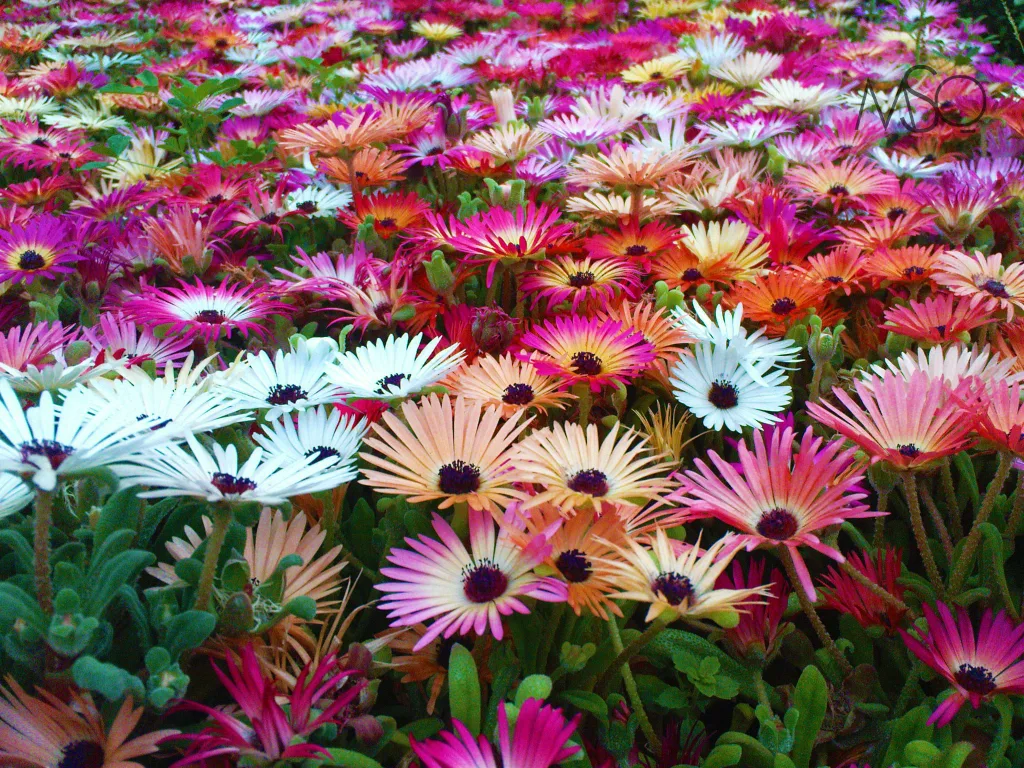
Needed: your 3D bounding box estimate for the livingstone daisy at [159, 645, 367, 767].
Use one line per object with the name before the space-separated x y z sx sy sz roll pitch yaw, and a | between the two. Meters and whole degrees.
livingstone daisy | -0.251 0.340 1.006 0.152 0.073 0.155 -11 14 -24
